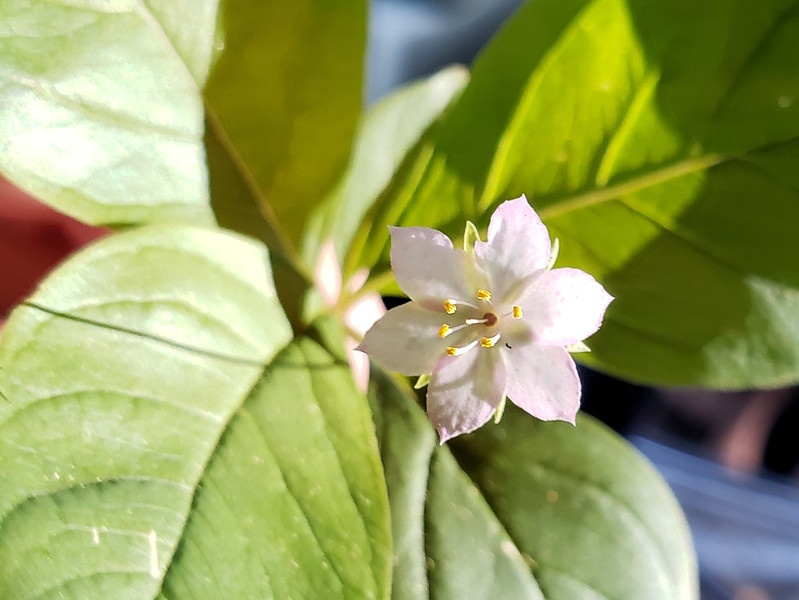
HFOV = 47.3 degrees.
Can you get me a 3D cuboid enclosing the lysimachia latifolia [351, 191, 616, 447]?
[{"bbox_3d":[0.082,0.017,0.900,0.235,0.264,0.081,-25,23,10],"label":"lysimachia latifolia"}]
